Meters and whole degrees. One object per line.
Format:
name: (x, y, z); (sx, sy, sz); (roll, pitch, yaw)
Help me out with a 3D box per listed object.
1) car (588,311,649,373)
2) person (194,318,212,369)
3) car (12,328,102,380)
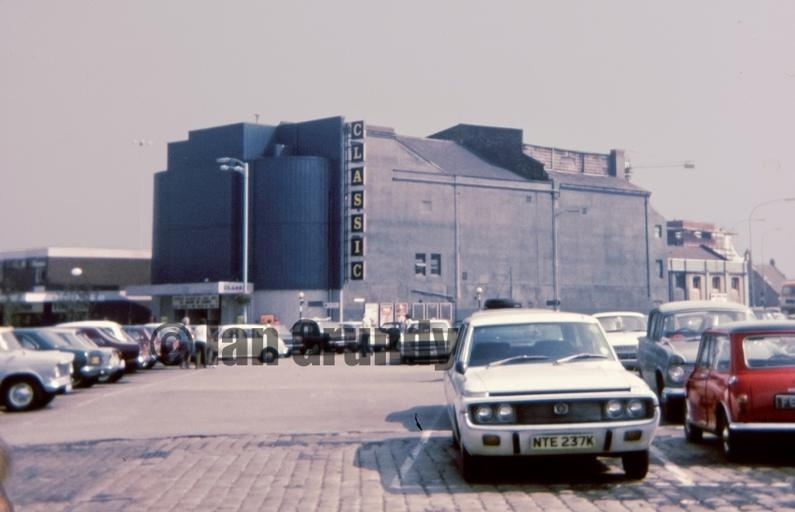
car: (6.529, 2.371, 24.105); (1.787, 1.367, 3.020); (-1, -7, 0)
person: (-7.293, 3.375, 32.149); (0.654, 1.579, 1.311); (-1, 0, -10)
car: (-8.971, 2.525, 22.405); (2.152, 0.950, 1.252); (1, -3, 11)
